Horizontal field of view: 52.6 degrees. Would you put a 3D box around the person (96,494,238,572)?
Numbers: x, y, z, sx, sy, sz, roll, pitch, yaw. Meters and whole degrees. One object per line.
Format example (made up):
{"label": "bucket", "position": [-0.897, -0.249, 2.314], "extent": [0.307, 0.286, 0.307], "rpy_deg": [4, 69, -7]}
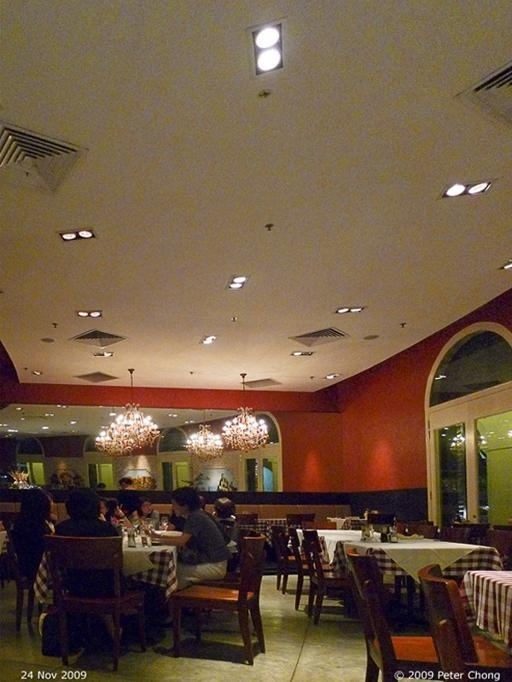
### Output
{"label": "person", "position": [-0.653, 1.565, 4.135], "extent": [0.810, 0.904, 0.455], "rpy_deg": [4, -23, 2]}

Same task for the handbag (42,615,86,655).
{"label": "handbag", "position": [-1.280, 1.964, 3.474], "extent": [0.291, 0.252, 0.194], "rpy_deg": [5, -17, -28]}

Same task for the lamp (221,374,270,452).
{"label": "lamp", "position": [-0.217, 1.371, 10.121], "extent": [0.869, 1.456, 0.825], "rpy_deg": [-4, 9, -8]}

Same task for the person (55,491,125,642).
{"label": "person", "position": [-1.126, 1.610, 3.566], "extent": [0.452, 1.170, 0.385], "rpy_deg": [-8, -4, -3]}
